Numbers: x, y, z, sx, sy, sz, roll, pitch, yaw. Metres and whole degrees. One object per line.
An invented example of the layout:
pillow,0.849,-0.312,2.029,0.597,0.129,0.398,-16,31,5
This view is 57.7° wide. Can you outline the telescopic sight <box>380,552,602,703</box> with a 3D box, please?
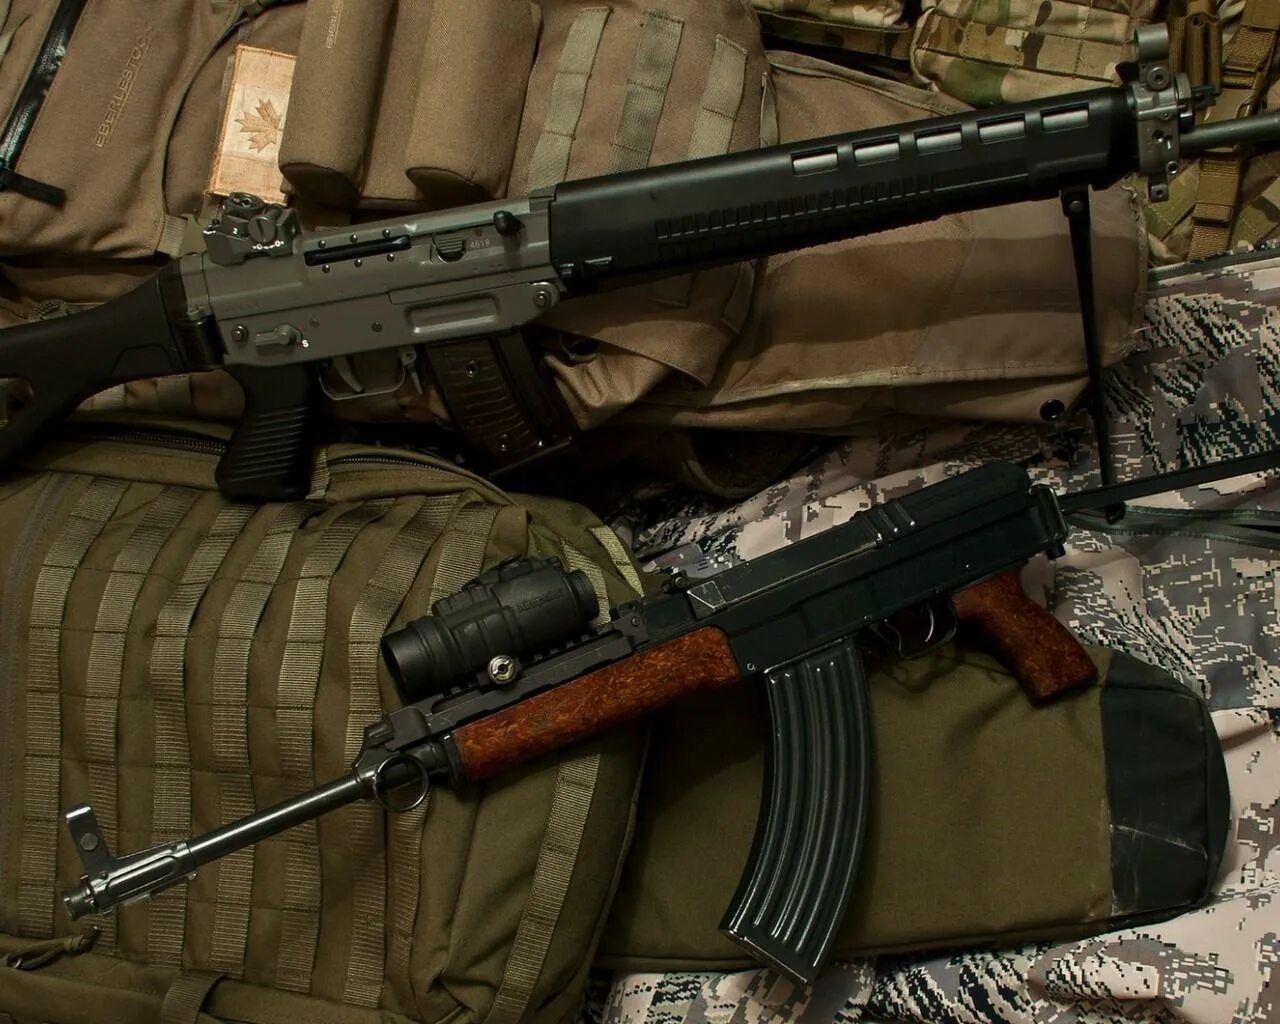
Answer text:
telescopic sight,-0.205,0.192,1.888,0.362,0.115,0.173,-19,32,-12
